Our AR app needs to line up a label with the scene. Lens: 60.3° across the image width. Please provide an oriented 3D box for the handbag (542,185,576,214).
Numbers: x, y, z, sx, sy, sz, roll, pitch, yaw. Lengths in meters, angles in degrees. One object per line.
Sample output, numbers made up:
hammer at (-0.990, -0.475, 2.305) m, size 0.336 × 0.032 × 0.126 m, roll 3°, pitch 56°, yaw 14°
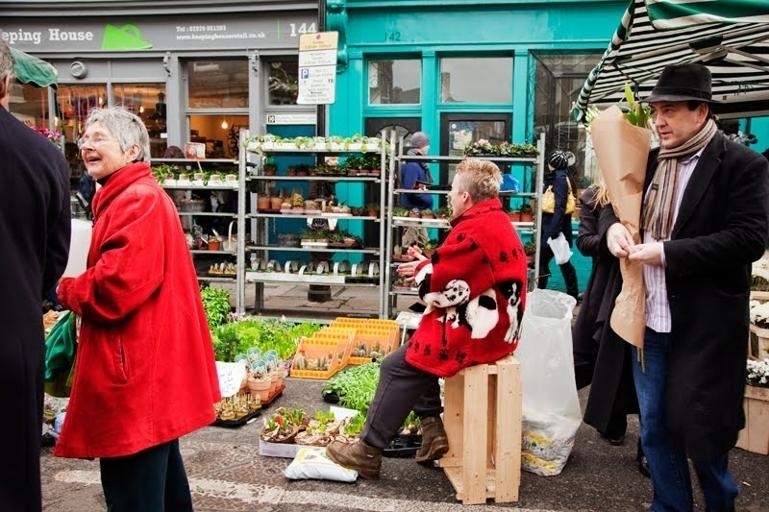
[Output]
handbag at (2.380, -0.789, 9.280) m, size 0.572 × 0.578 × 0.386 m, roll 2°, pitch 7°, yaw 14°

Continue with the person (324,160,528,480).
person at (0.398, 0.490, 4.820) m, size 1.225 × 2.368 × 0.378 m, roll 1°, pitch 6°, yaw 5°

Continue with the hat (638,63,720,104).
hat at (1.859, -1.065, 4.118) m, size 0.324 × 0.172 × 0.282 m, roll 15°, pitch 16°, yaw 39°

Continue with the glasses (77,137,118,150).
glasses at (-1.745, -0.670, 3.961) m, size 0.147 × 0.045 × 0.107 m, roll -2°, pitch -2°, yaw -21°

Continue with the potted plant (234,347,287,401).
potted plant at (-1.153, 1.097, 6.201) m, size 0.412 × 0.440 × 0.615 m, roll 0°, pitch 8°, yaw 0°

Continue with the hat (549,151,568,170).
hat at (2.404, -1.322, 9.210) m, size 0.222 × 0.259 × 0.328 m, roll 2°, pitch 6°, yaw 12°

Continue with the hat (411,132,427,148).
hat at (0.453, -1.602, 9.135) m, size 0.212 × 0.174 × 0.209 m, roll -14°, pitch 25°, yaw -8°

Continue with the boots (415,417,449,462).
boots at (0.332, 1.421, 5.100) m, size 0.171 × 0.281 × 0.413 m, roll 0°, pitch -35°, yaw -24°
